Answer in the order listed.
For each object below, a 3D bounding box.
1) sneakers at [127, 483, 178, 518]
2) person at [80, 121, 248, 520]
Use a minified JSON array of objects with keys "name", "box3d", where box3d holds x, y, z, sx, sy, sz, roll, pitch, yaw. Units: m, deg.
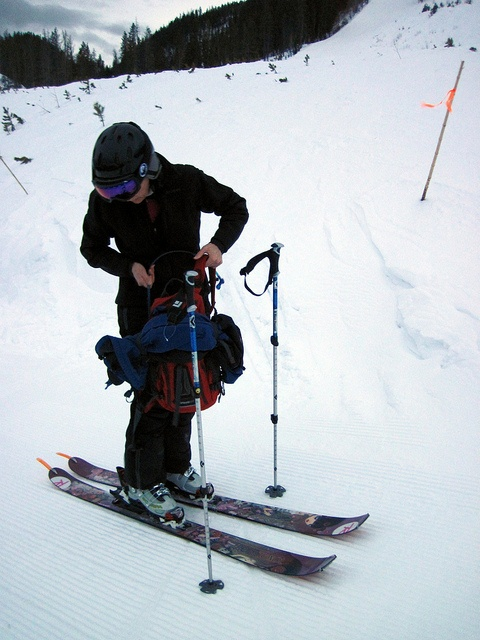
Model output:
[{"name":"sneakers","box3d":[-0.601,1.210,3.687,0.364,0.157,0.129,24,23,12]},{"name":"person","box3d":[-0.461,0.038,3.587,1.088,2.480,0.967,-7,11,-30]}]
